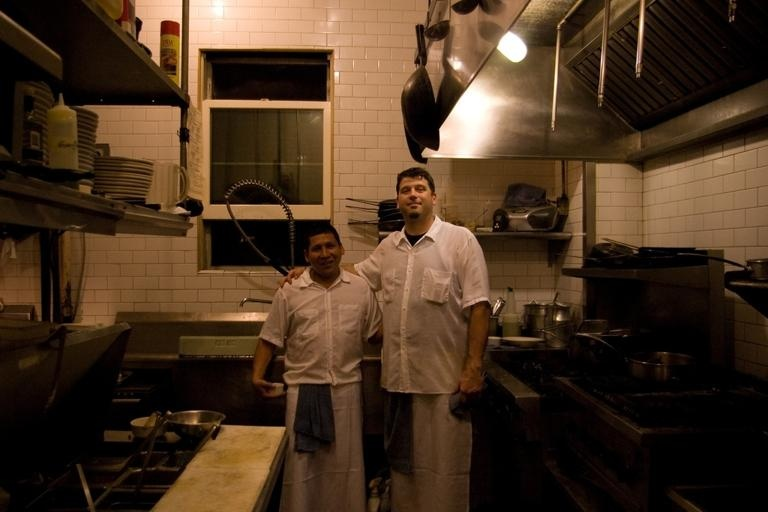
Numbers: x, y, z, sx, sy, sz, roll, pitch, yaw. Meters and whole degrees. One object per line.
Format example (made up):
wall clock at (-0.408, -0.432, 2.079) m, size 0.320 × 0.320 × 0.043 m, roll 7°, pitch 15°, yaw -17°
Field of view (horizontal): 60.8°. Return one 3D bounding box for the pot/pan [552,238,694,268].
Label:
pot/pan at (1.588, 0.009, 4.044) m, size 0.719 × 0.154 × 0.326 m, roll 2°, pitch 3°, yaw 28°

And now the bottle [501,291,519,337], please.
bottle at (0.990, 0.432, 5.092) m, size 0.148 × 0.353 × 0.290 m, roll 1°, pitch 3°, yaw 11°

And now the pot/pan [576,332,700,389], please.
pot/pan at (1.492, 0.612, 3.841) m, size 0.531 × 0.204 × 0.320 m, roll 1°, pitch 3°, yaw -13°

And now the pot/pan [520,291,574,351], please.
pot/pan at (1.236, 0.504, 4.908) m, size 0.370 × 0.307 × 0.330 m, roll 1°, pitch 3°, yaw 12°

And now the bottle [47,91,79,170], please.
bottle at (-1.423, -0.550, 2.901) m, size 0.120 × 0.328 × 0.085 m, roll -1°, pitch 3°, yaw -20°

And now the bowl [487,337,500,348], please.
bowl at (0.810, 0.626, 4.787) m, size 0.081 × 0.046 × 0.081 m, roll -1°, pitch 1°, yaw 0°

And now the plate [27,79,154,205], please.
plate at (-1.245, -0.496, 2.995) m, size 0.535 × 0.705 × 0.454 m, roll 3°, pitch -1°, yaw -7°

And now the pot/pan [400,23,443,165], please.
pot/pan at (0.215, -0.856, 3.622) m, size 0.146 × 0.813 × 0.222 m, roll -1°, pitch -1°, yaw 8°

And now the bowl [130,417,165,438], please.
bowl at (-1.315, 0.931, 3.608) m, size 0.148 × 0.073 × 0.160 m, roll 0°, pitch -3°, yaw 0°

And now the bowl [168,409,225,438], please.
bowl at (-1.027, 0.916, 3.565) m, size 0.304 × 0.104 × 0.269 m, roll 0°, pitch 3°, yaw -10°

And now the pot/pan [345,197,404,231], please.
pot/pan at (-0.043, -0.317, 4.853) m, size 0.379 × 0.149 × 0.254 m, roll 0°, pitch 6°, yaw -7°
